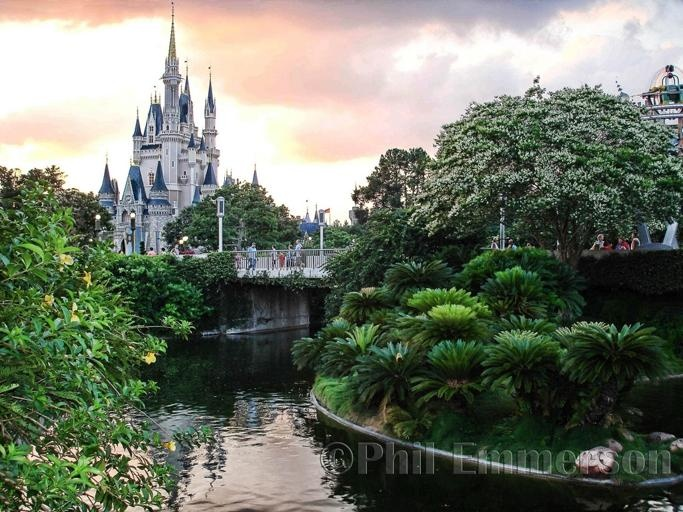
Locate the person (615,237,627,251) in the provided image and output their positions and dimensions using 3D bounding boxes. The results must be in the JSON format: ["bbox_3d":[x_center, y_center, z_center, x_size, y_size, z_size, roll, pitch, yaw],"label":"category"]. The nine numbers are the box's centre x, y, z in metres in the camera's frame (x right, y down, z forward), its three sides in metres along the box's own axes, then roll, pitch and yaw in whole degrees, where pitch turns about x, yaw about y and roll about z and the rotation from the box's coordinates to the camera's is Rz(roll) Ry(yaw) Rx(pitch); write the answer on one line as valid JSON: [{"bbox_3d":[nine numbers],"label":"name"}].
[{"bbox_3d":[13.257,-0.552,32.599,0.398,0.814,0.511,14,36,42],"label":"person"}]

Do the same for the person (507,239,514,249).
[{"bbox_3d":[9.051,-0.654,36.905,0.405,0.536,0.868,8,5,10],"label":"person"}]
